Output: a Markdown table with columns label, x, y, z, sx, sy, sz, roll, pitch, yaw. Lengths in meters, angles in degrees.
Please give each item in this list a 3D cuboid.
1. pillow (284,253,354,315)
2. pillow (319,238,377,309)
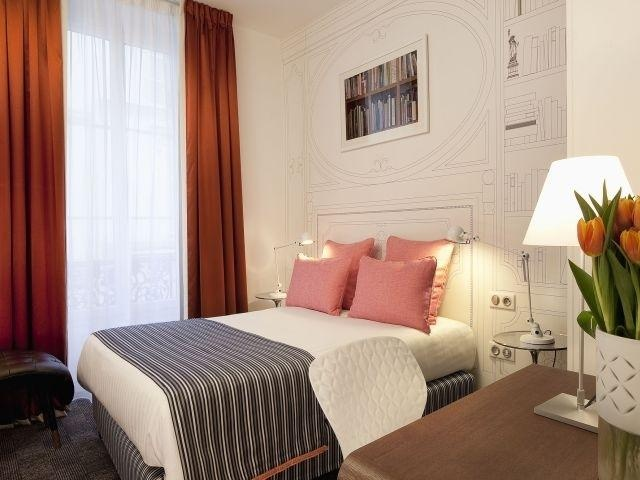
| label | x | y | z | sx | sy | sz | roll | pitch | yaw |
| --- | --- | --- | --- | --- | --- | --- | --- | --- | --- |
| pillow | 0.004 | 0.364 | 3.681 | 0.155 | 0.330 | 0.413 | 2 | 8 | -39 |
| pillow | 0.241 | 0.223 | 3.788 | 0.145 | 0.544 | 0.505 | 21 | -19 | -32 |
